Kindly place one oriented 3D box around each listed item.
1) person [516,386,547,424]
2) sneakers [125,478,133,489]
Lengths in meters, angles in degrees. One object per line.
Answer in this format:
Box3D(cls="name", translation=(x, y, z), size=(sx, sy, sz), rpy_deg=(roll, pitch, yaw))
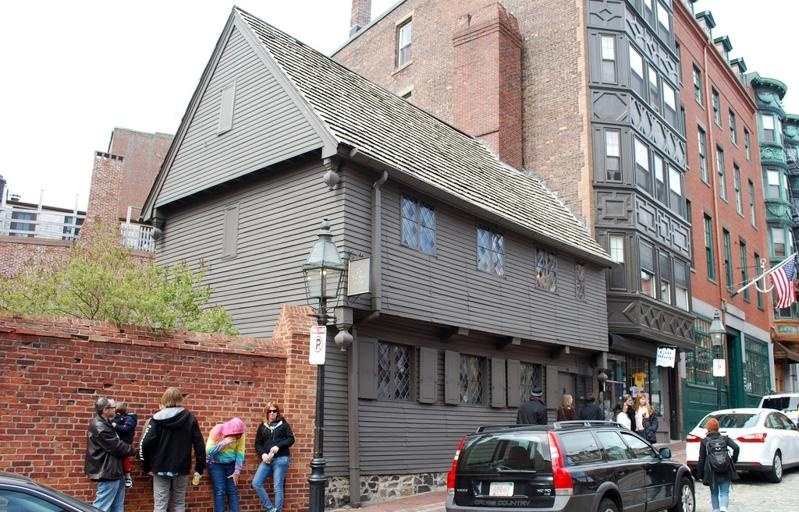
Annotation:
Box3D(cls="person", translation=(3.723, 4.146, 21.446), size=(0.723, 1.065, 0.861), rpy_deg=(4, -18, -16))
Box3D(cls="sneakers", translation=(-6.084, 5.075, 17.276), size=(0.135, 0.193, 0.400), rpy_deg=(-1, -10, 9))
